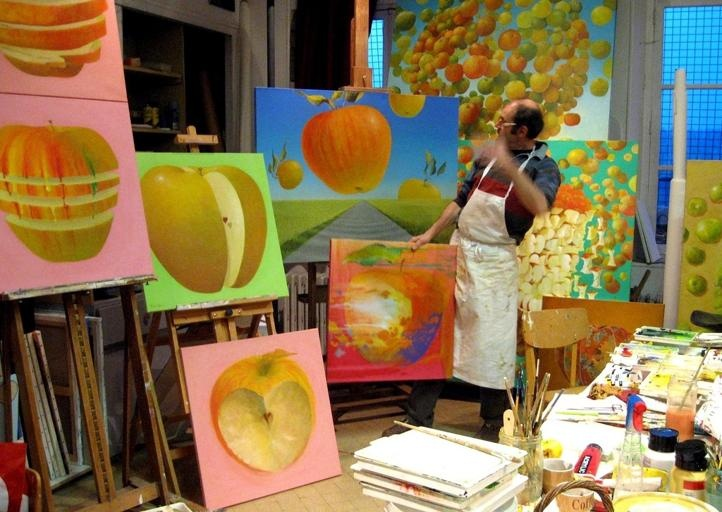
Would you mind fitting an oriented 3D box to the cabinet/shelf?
[{"bbox_3d":[-1.501,-1.275,4.290,0.429,0.993,0.586,-4,8,-22],"label":"cabinet/shelf"}]

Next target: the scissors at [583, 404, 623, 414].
[{"bbox_3d":[0.953,0.593,2.276,0.156,0.012,0.089,0,8,0],"label":"scissors"}]

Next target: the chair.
[{"bbox_3d":[0.948,0.544,2.784,0.320,0.512,0.349,-7,4,9],"label":"chair"}]

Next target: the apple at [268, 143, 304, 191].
[{"bbox_3d":[-0.461,-0.503,3.495,0.172,0.267,0.184,-22,-10,39],"label":"apple"}]
